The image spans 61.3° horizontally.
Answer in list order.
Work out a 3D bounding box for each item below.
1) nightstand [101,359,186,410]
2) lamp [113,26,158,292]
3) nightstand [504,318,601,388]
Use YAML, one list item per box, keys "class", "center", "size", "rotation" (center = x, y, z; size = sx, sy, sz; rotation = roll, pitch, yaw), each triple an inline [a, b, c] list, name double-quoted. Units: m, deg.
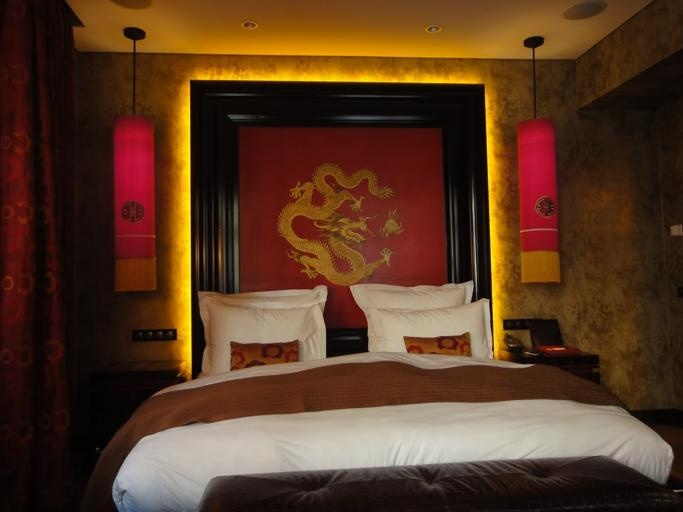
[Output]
- class: "nightstand"
  center: [-1.460, 0.888, 4.194]
  size: [0.282, 0.216, 0.405]
  rotation: [1, -2, 0]
- class: "lamp"
  center: [-1.578, -0.698, 4.389]
  size: [0.355, 2.086, 0.328]
  rotation: [0, 0, -2]
- class: "nightstand"
  center: [1.631, 0.645, 4.721]
  size: [0.585, 0.852, 0.611]
  rotation: [-1, 3, -3]
